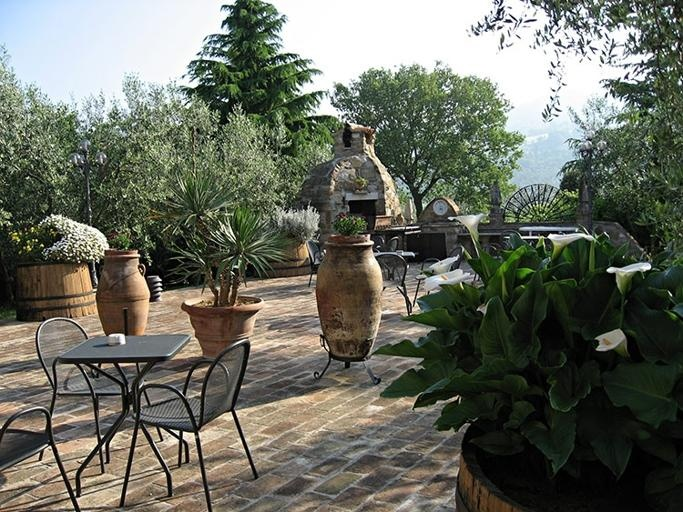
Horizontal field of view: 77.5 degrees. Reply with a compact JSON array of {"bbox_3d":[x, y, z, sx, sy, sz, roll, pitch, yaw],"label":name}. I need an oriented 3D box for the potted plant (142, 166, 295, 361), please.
[{"bbox_3d":[-1.347,0.108,4.957,1.579,2.088,1.220,5,6,23],"label":"potted plant"}]

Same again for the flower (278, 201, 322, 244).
[{"bbox_3d":[-1.229,-1.008,11.421,0.987,0.986,0.981,18,-11,45],"label":"flower"}]

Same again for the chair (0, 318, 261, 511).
[{"bbox_3d":[-1.338,0.997,2.974,1.503,1.009,0.901,0,5,9],"label":"chair"}]

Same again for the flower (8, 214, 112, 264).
[{"bbox_3d":[-5.008,-0.308,7.519,1.613,0.867,0.864,0,4,29],"label":"flower"}]

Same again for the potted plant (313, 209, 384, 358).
[{"bbox_3d":[0.083,0.428,4.405,0.670,1.296,0.286,-3,4,-6],"label":"potted plant"}]
